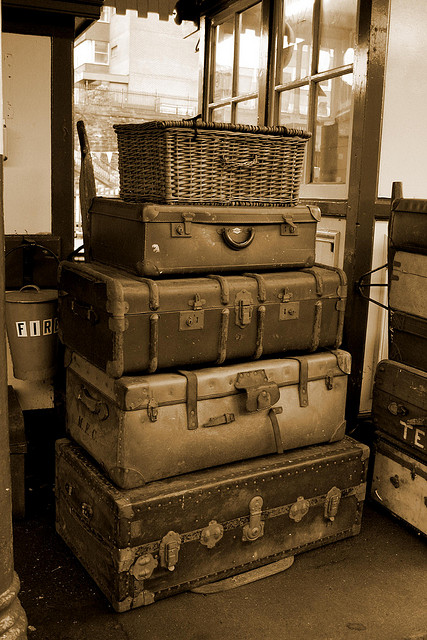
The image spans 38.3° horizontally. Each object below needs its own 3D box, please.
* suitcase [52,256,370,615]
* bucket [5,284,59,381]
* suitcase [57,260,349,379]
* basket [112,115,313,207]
[{"bbox_3d":[0.037,0.479,2.625,1.431,1.695,0.913,-2,4,-34],"label":"suitcase"},{"bbox_3d":[-0.794,0.074,2.704,0.216,0.377,0.140,-2,8,-23],"label":"bucket"},{"bbox_3d":[-0.019,-0.041,2.369,1.013,0.351,0.531,-4,10,-36],"label":"suitcase"},{"bbox_3d":[0.024,-0.549,2.318,0.552,0.312,0.420,-4,10,-30],"label":"basket"}]
